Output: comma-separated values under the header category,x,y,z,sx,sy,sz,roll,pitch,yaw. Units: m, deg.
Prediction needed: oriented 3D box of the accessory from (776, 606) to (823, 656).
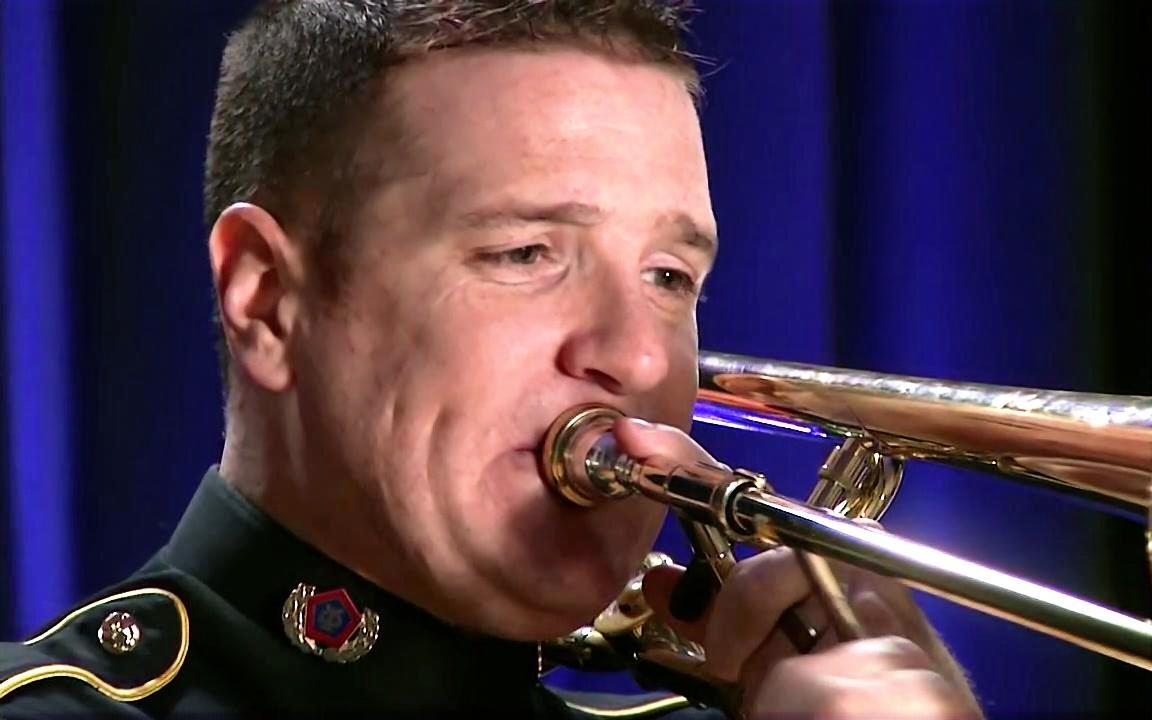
category,x,y,z,sx,sy,sz,roll,pitch,yaw
accessory,0.265,0.313,1.632,0.027,0.047,0.046,-8,8,-32

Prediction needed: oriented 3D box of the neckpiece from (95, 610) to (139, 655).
category,x,y,z,sx,sy,sz,roll,pitch,yaw
neckpiece,-0.556,0.329,1.688,0.047,0.048,0.022,-44,-9,-14
